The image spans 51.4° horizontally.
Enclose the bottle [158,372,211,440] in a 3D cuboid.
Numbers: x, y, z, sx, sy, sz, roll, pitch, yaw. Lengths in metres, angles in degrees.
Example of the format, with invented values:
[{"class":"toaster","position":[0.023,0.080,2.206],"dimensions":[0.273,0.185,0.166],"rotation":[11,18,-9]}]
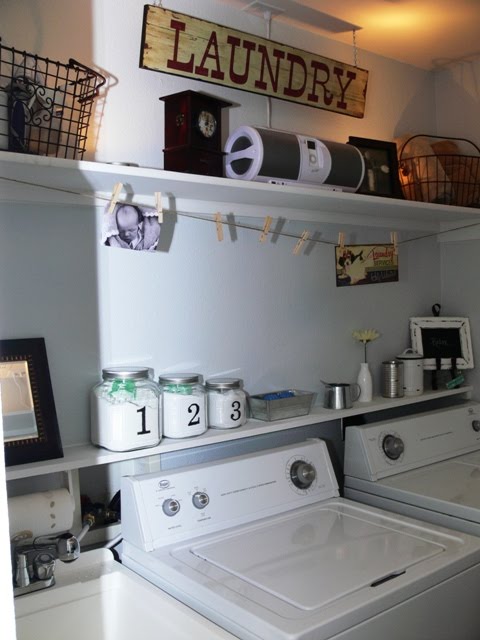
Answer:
[{"class":"bottle","position":[-0.150,0.216,1.285],"dimensions":[0.127,0.169,0.135],"rotation":[-5,-5,0]}]

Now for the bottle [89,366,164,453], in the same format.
[{"class":"bottle","position":[-0.286,0.212,1.174],"dimensions":[0.176,0.195,0.151],"rotation":[6,-10,-43]}]

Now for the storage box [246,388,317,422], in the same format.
[{"class":"storage box","position":[0.124,0.245,1.465],"dimensions":[0.162,0.055,0.085],"rotation":[2,-6,-39]}]

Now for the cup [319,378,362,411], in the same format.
[{"class":"cup","position":[0.346,0.252,1.662],"dimensions":[0.113,0.071,0.077],"rotation":[7,-11,-25]}]

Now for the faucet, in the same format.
[{"class":"faucet","position":[-0.388,0.488,0.993],"dimensions":[0.127,0.076,0.045],"rotation":[-10,-17,-11]}]

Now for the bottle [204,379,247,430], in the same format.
[{"class":"bottle","position":[-0.037,0.225,1.381],"dimensions":[0.121,0.131,0.116],"rotation":[-1,1,-33]}]

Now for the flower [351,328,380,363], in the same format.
[{"class":"flower","position":[0.459,0.091,1.833],"dimensions":[0.124,0.172,0.039],"rotation":[-3,6,-25]}]
